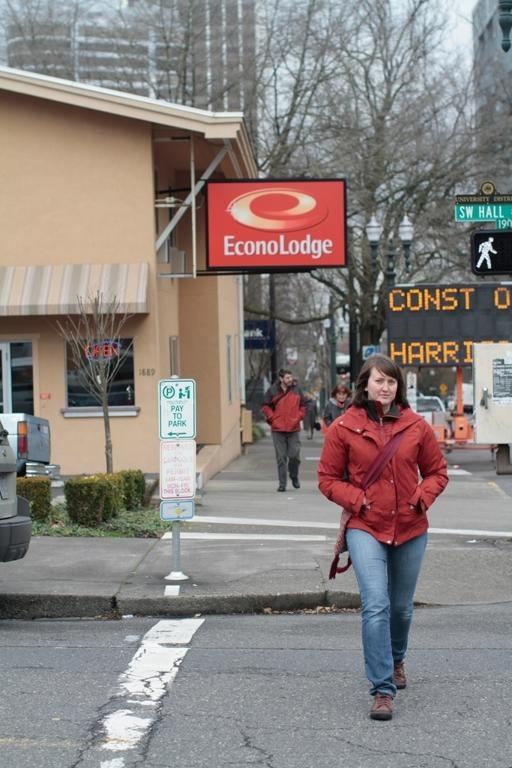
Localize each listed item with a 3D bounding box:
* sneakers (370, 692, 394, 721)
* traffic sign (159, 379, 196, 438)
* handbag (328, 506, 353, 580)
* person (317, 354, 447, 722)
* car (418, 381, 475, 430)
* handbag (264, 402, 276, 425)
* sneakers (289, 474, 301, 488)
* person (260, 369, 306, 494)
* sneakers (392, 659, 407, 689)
[{"bbox_3d":[0.587,1.507,5.450,0.111,0.122,0.106,-2,0,0],"label":"sneakers"},{"bbox_3d":[-0.588,0.175,8.658,0.278,0.524,0.051,-2,28,-6],"label":"traffic sign"},{"bbox_3d":[0.436,0.804,5.865,0.102,0.422,0.051,0,29,-4],"label":"handbag"},{"bbox_3d":[0.626,0.707,5.736,0.568,1.752,0.446,-2,0,-39],"label":"person"},{"bbox_3d":[4.945,0.518,29.877,0.856,1.136,2.102,1,5,21],"label":"car"},{"bbox_3d":[0.167,0.395,15.307,0.088,0.253,0.179,-3,7,5],"label":"handbag"},{"bbox_3d":[0.526,1.326,16.277,0.079,0.238,0.161,-14,-37,-5],"label":"sneakers"},{"bbox_3d":[0.380,0.635,15.694,0.578,1.574,1.430,-2,0,1],"label":"person"},{"bbox_3d":[0.738,1.490,5.970,0.057,0.073,0.178,-1,-6,6],"label":"sneakers"}]
